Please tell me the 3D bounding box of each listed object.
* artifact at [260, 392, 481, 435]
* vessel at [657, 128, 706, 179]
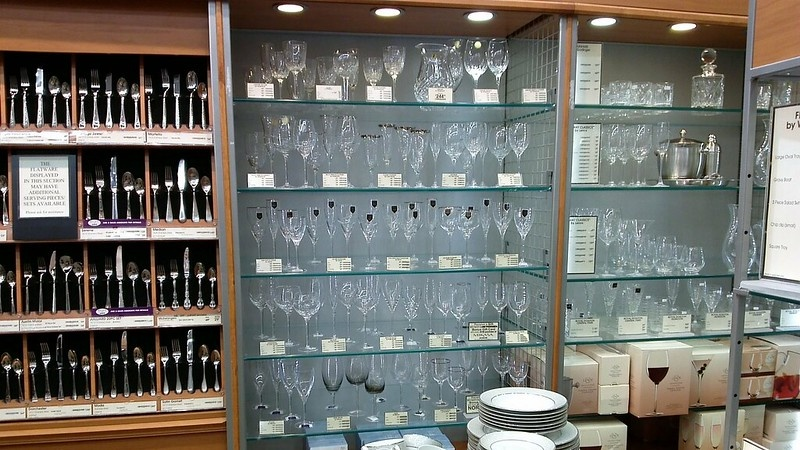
[{"bbox_3d":[-0.192,1.260,4.585,1.432,0.225,0.137,-4,1,-7],"label":"artifact"},{"bbox_3d":[1.962,-0.462,4.914,0.386,0.317,0.302,0,0,-15],"label":"vessel"}]
